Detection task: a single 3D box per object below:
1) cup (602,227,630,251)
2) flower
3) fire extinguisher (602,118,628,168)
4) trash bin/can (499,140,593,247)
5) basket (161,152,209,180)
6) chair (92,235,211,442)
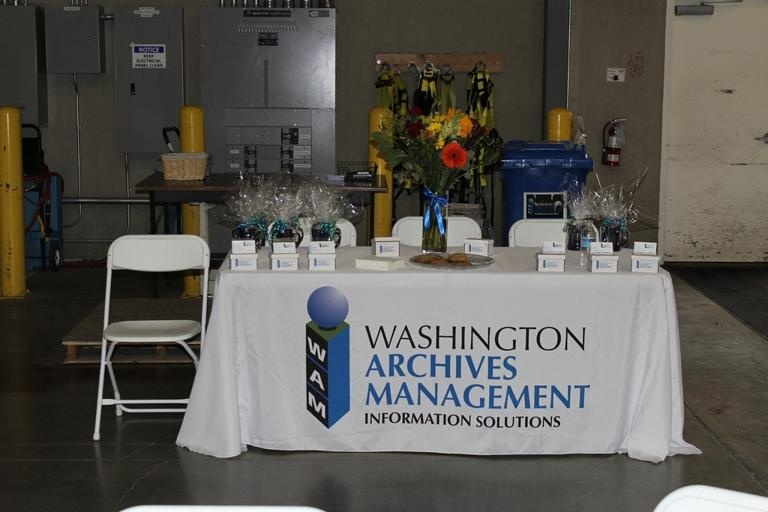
[{"bbox_3d":[1.757,-0.148,6.944,0.176,0.218,0.180,-1,8,0],"label":"cup"},{"bbox_3d":[0.404,-0.719,7.149,0.961,1.116,0.982,-6,13,-29],"label":"flower"},{"bbox_3d":[2.810,-1.382,11.085,0.280,0.579,0.178,2,12,14],"label":"fire extinguisher"},{"bbox_3d":[1.700,-0.624,9.663,0.980,1.655,1.056,0,9,3],"label":"trash bin/can"},{"bbox_3d":[-1.991,-0.903,9.165,0.349,0.212,0.266,0,6,-4],"label":"basket"},{"bbox_3d":[-1.740,0.587,6.816,0.823,1.500,0.836,-1,6,-19],"label":"chair"}]
